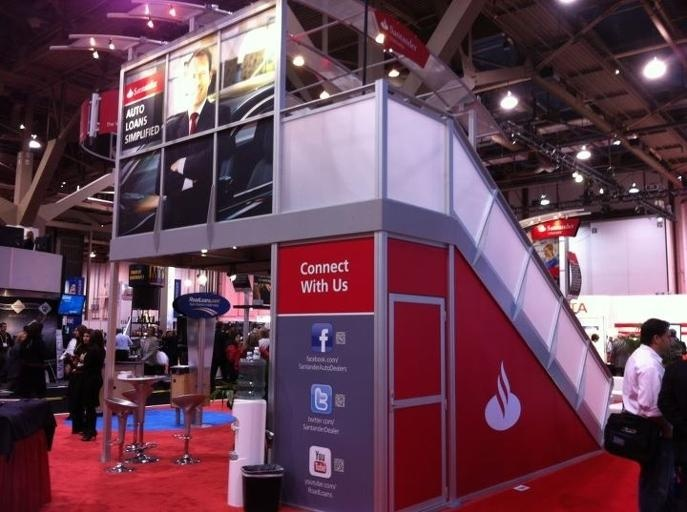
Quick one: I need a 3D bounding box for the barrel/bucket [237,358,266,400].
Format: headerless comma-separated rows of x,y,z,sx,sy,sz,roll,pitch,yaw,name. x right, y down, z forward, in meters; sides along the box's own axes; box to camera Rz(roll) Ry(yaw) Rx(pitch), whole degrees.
-1.120,1.506,7.187,0.340,0.491,0.218,1,-8,-9,barrel/bucket

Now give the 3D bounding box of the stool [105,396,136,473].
-3.104,2.494,8.241,0.389,1.036,0.464,-7,-6,17,stool

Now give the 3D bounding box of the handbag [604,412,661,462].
2.888,1.851,5.942,0.379,0.512,0.492,12,-3,-37,handbag

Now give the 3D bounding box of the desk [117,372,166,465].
-3.018,2.462,8.815,0.501,0.929,0.532,1,-3,8,desk

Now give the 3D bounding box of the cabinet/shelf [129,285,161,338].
-5.840,1.497,17.092,1.001,1.702,0.936,-5,3,-40,cabinet/shelf

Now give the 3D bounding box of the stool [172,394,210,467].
-2.443,2.604,9.193,0.446,0.967,1.981,2,-9,-16,stool

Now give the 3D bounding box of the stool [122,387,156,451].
-3.011,2.440,8.760,0.480,0.921,0.524,-4,-8,24,stool

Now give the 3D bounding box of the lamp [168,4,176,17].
-2.471,-3.565,8.483,0.100,0.120,0.192,-4,0,23,lamp

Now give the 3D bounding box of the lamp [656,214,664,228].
11.816,-1.296,21.895,0.298,0.399,0.446,-4,-9,24,lamp

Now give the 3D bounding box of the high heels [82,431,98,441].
-4.209,3.002,9.717,0.106,0.183,0.350,-4,-22,5,high heels

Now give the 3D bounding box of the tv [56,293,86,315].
-9.758,1.730,20.985,0.140,0.874,1.081,1,-8,35,tv
